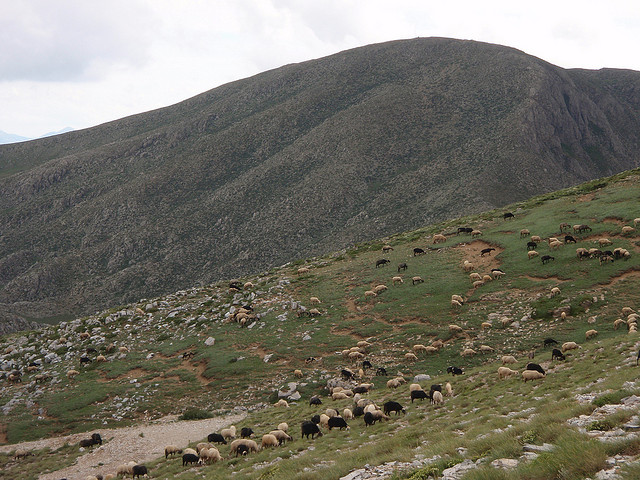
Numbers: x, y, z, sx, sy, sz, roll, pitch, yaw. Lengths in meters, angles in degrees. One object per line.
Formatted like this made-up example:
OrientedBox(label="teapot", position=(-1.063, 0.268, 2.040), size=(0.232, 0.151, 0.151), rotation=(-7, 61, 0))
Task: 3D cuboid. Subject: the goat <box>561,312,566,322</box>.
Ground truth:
OrientedBox(label="goat", position=(56.995, 17.947, 278.007), size=(0.793, 1.779, 1.151), rotation=(-7, 2, 12))
